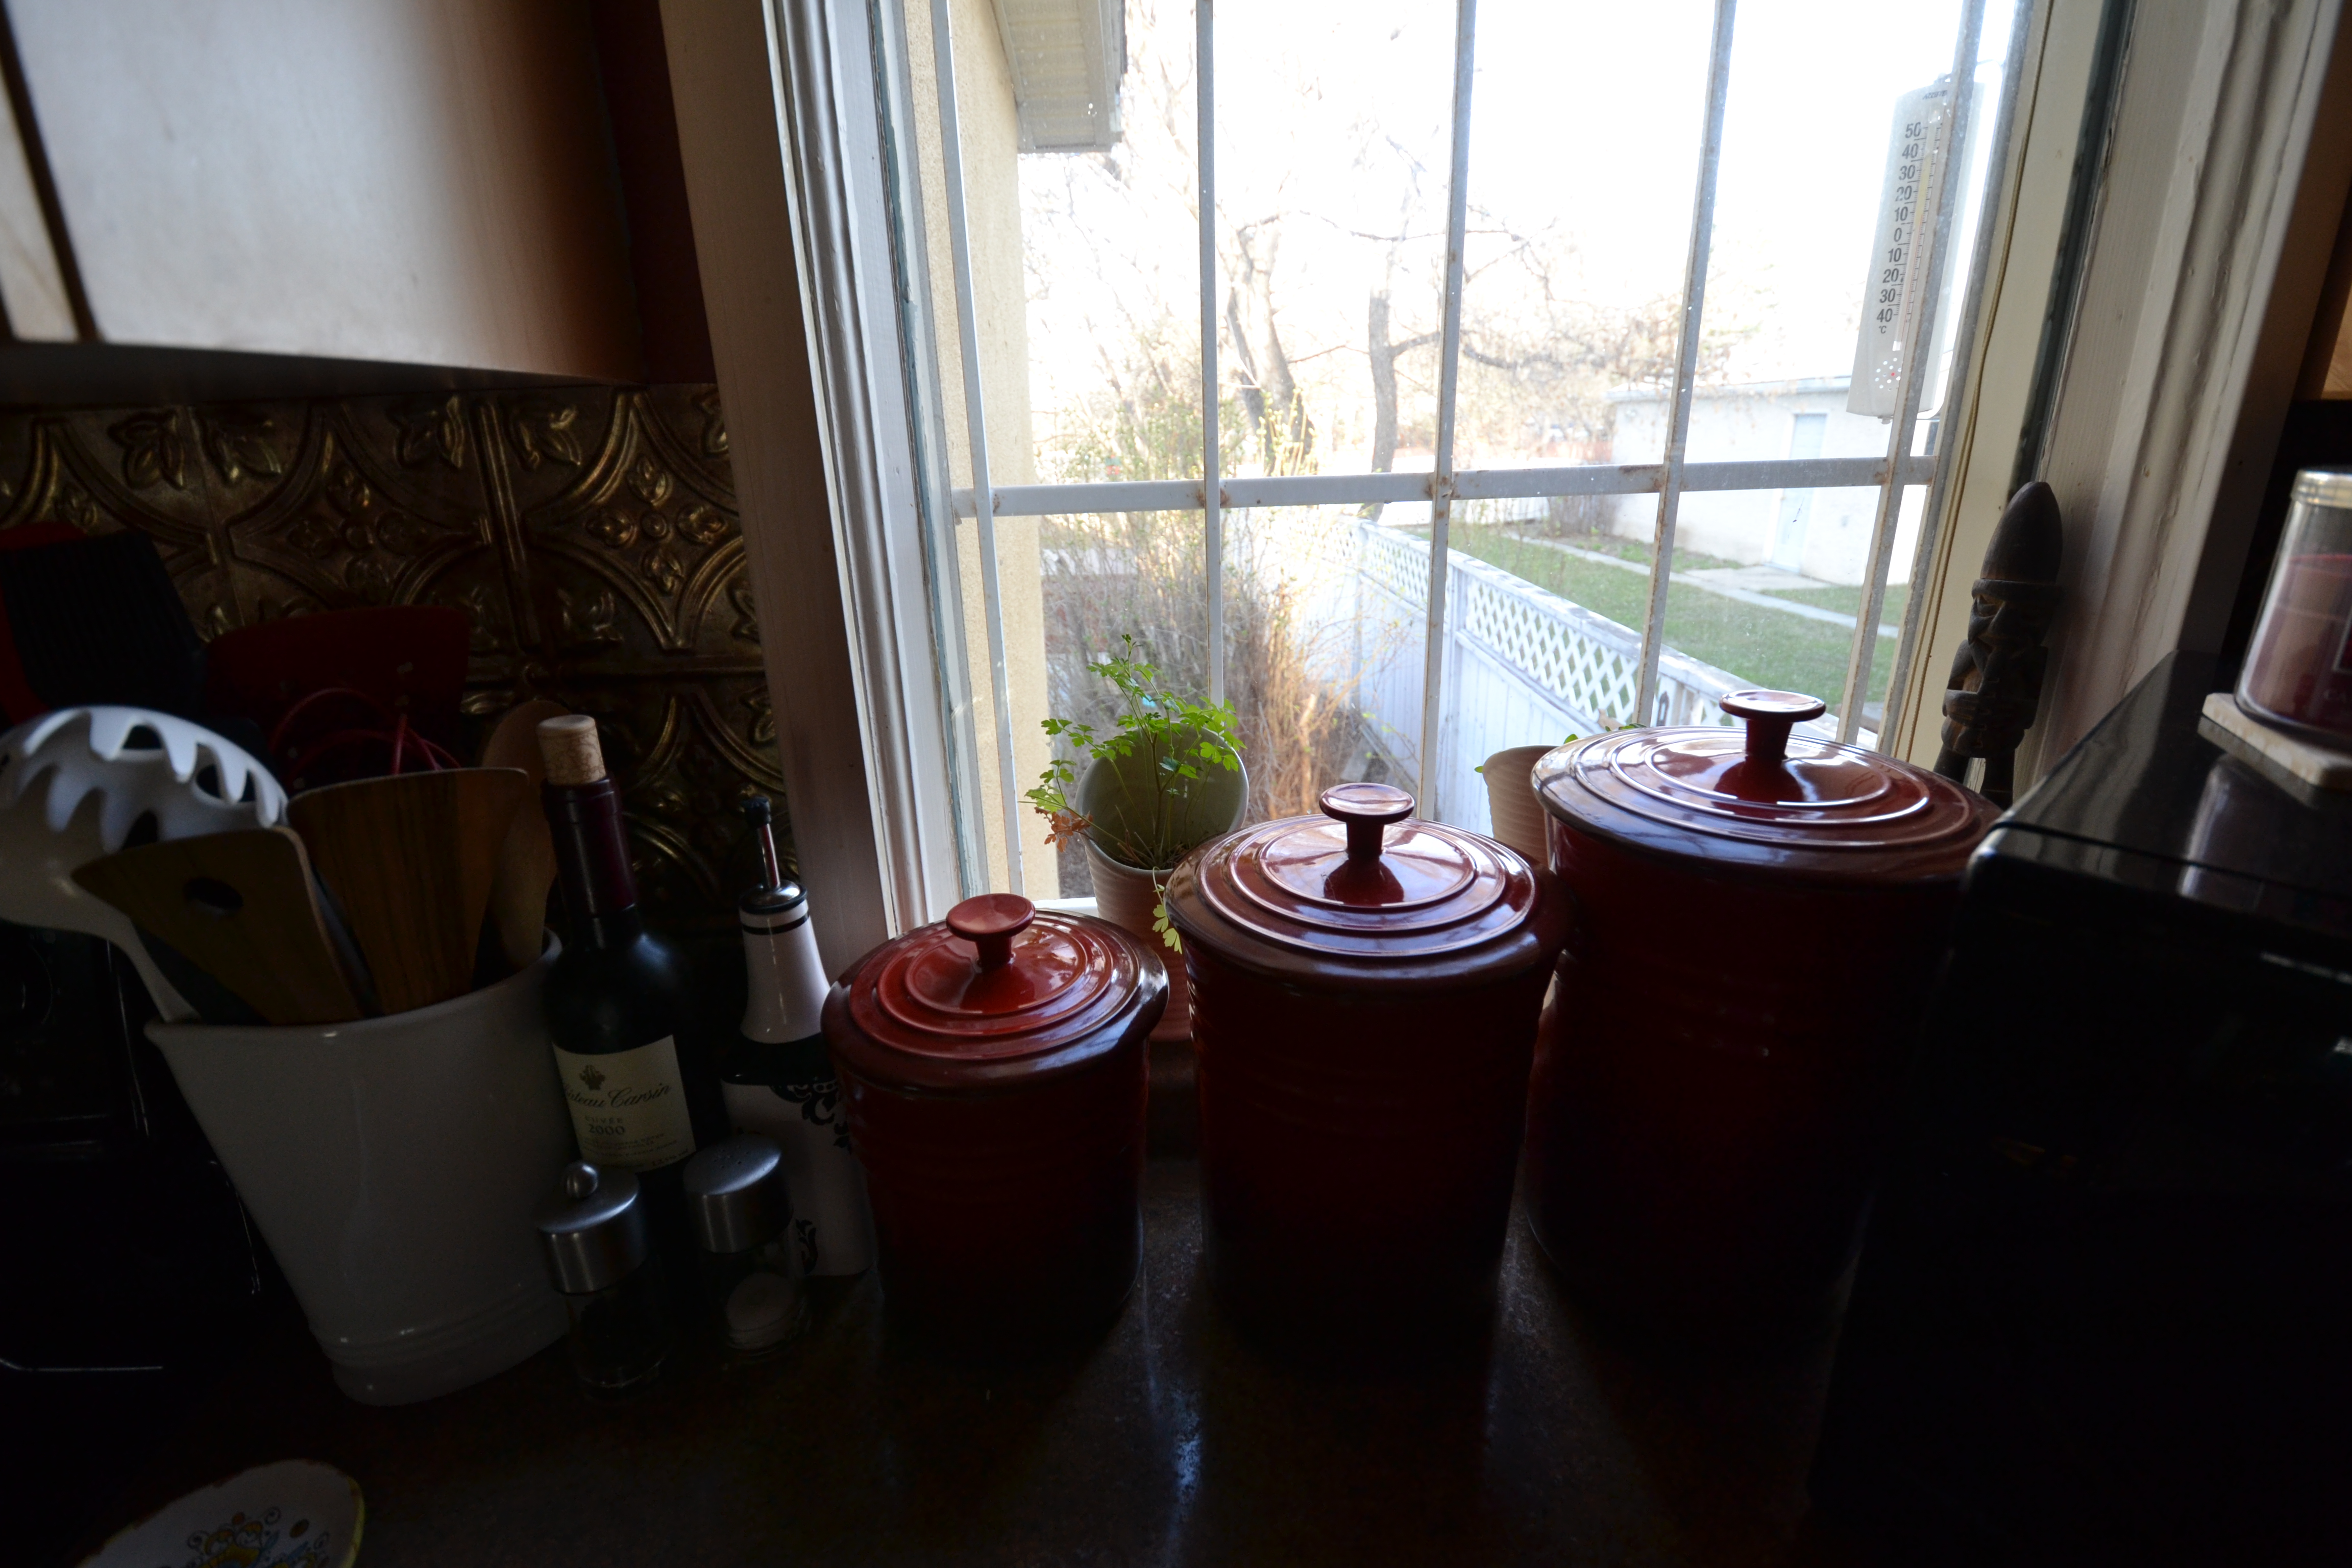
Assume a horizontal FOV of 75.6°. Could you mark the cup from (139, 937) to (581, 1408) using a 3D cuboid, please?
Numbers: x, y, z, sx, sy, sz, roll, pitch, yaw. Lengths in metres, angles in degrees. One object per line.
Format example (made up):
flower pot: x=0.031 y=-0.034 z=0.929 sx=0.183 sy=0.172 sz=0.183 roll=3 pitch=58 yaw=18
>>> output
cup: x=-0.554 y=0.271 z=1.264 sx=0.292 sy=0.346 sz=0.321 roll=-4 pitch=16 yaw=1
